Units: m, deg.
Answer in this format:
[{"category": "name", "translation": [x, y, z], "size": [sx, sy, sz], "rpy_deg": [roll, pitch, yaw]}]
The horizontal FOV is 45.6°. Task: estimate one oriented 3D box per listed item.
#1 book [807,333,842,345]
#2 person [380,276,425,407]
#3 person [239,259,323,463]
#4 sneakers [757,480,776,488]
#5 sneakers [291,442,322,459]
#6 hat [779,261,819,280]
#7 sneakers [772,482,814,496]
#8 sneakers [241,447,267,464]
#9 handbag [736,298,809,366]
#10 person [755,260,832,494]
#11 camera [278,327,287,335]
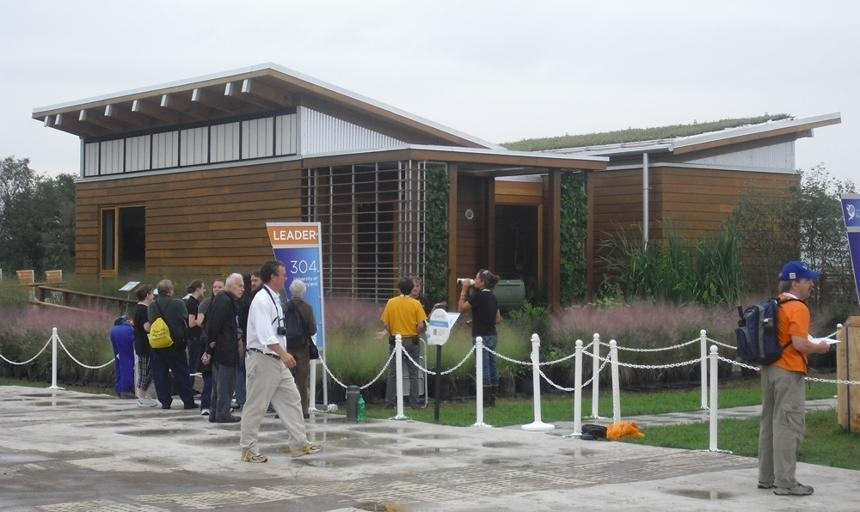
[{"category": "book", "translation": [7.892, 1.621, 20.379], "size": [0.669, 0.105, 1.388], "rpy_deg": [2, 0, 19]}, {"category": "person", "translation": [-0.522, 1.903, 22.707], "size": [1.002, 2.876, 0.942], "rpy_deg": [0, -4, -23]}, {"category": "person", "translation": [-2.832, 1.849, 18.426], "size": [1.166, 3.558, 0.643], "rpy_deg": [-1, -3, -11]}, {"category": "sneakers", "translation": [5.589, 3.736, 16.903], "size": [0.273, 0.109, 0.090], "rpy_deg": [-2, 1, -16]}, {"category": "sneakers", "translation": [-2.254, 3.462, 18.545], "size": [0.538, 0.244, 0.225], "rpy_deg": [-8, 9, -14]}, {"category": "hat", "translation": [6.214, 0.196, 17.105], "size": [0.526, 0.249, 0.341], "rpy_deg": [-1, 3, 2]}, {"category": "sneakers", "translation": [5.974, 3.794, 16.664], "size": [0.506, 0.205, 0.253], "rpy_deg": [-6, 2, -10]}, {"category": "sneakers", "translation": [-3.096, 3.514, 18.154], "size": [0.513, 0.238, 0.191], "rpy_deg": [-5, -6, 34]}, {"category": "handbag", "translation": [5.652, 1.285, 17.493], "size": [1.262, 1.169, 0.976], "rpy_deg": [2, -5, -2]}, {"category": "person", "translation": [5.955, 1.973, 16.957], "size": [1.092, 3.794, 0.548], "rpy_deg": [-2, -4, 17]}, {"category": "camera", "translation": [-2.683, 1.325, 18.542], "size": [0.139, 0.133, 0.191], "rpy_deg": [-1, -1, -1]}]
